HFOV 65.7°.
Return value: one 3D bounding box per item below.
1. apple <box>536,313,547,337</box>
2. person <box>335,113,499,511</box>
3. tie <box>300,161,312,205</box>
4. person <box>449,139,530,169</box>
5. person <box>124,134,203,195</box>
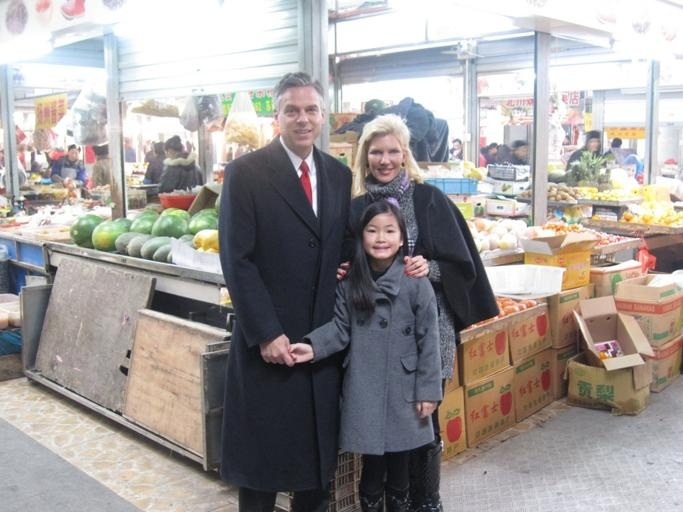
[{"bbox_3d":[1.543,0.528,4.024,0.109,0.157,0.036,3,1,-43],"label":"apple"},{"bbox_3d":[0.398,0.213,2.680,0.622,2.044,0.696,-3,6,-31],"label":"person"},{"bbox_3d":[-0.152,-0.319,2.258,0.037,0.031,0.217,4,49,-16],"label":"tie"},{"bbox_3d":[2.988,-1.922,9.940,1.147,0.634,1.722,-5,18,-23],"label":"person"},{"bbox_3d":[-2.216,-1.229,6.873,0.682,0.690,1.637,-5,12,-21],"label":"person"}]
